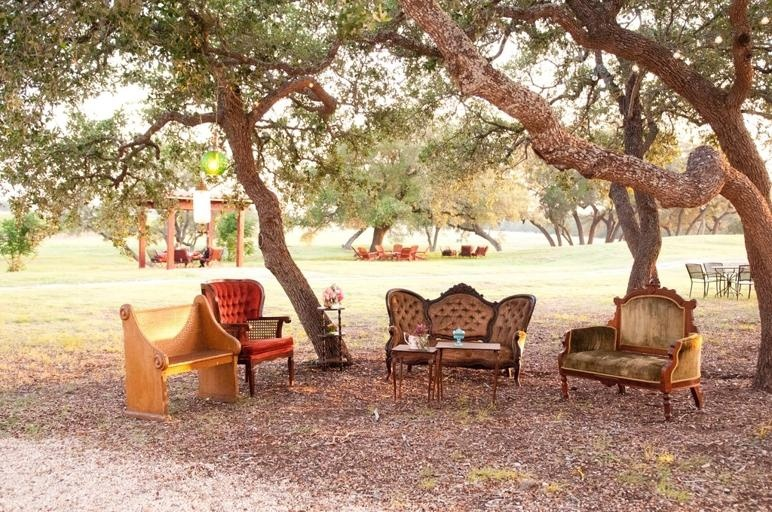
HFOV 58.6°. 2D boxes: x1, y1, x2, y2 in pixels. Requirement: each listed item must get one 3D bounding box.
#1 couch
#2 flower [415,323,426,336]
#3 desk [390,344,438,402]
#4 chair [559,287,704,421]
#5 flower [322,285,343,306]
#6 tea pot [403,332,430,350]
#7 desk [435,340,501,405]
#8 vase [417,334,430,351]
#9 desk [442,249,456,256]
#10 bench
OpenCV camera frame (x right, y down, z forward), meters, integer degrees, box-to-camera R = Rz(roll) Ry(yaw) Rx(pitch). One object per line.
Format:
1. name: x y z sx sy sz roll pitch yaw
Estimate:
1. couch: 1.261 1.375 12.050 2.610 1.496 1.042 1 6 20
2. flower: 0.550 1.181 11.081 0.158 0.167 0.159 7 -5 8
3. desk: 0.465 1.869 11.506 0.776 0.880 1.907 -2 0 -1
4. chair: 3.957 1.492 10.987 1.267 1.891 2.153 -4 3 -30
5. flower: -0.999 0.724 12.768 0.337 0.422 0.414 -2 1 -6
6. tea pot: 0.471 1.371 11.092 0.327 0.191 0.258 -1 -4 9
7. desk: 1.318 1.787 11.267 1.174 1.069 0.897 0 -7 7
8. vase: 0.594 1.358 11.004 0.163 0.236 0.278 -2 1 -2
9. desk: 4.348 -0.268 46.979 0.841 0.566 1.432 -2 0 14
10. bench: -3.229 1.533 10.772 1.557 1.762 0.861 -3 2 -41
